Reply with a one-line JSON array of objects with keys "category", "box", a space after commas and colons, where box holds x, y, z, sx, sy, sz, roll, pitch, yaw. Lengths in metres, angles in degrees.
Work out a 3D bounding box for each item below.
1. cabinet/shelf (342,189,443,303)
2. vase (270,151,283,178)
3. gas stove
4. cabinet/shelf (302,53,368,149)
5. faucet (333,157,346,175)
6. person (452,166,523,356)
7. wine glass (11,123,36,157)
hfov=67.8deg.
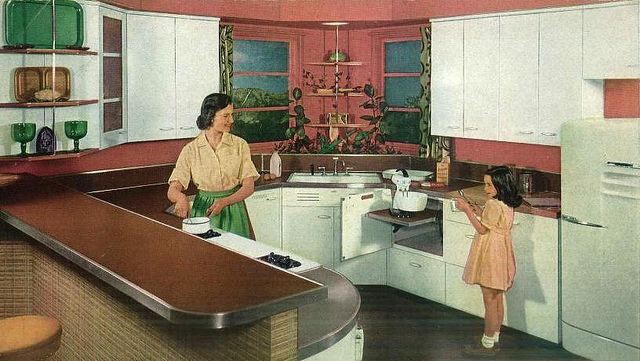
[{"category": "cabinet/shelf", "box": [1.099, 0.682, 5.303, 1.552, 1.047, 0.968, 4, 6, 33]}, {"category": "vase", "box": [-0.544, -0.202, 5.786, 0.139, 0.289, 0.250, 5, 14, -5]}, {"category": "gas stove", "box": [-0.514, 0.443, 3.480, 1.058, 0.213, 0.340, 10, 14, 20]}, {"category": "cabinet/shelf", "box": [0.187, -1.005, 6.359, 0.930, 1.129, 0.356, 0, 8, -5]}, {"category": "faucet", "box": [0.244, -0.194, 6.022, 0.197, 0.203, 0.214, 6, 14, 1]}, {"category": "person", "box": [1.594, 0.693, 4.568, 0.597, 1.685, 0.481, 15, 17, 32]}, {"category": "wine glass", "box": [-2.647, -0.378, 4.243, 0.200, 0.284, 0.204, -2, 16, -30]}]
